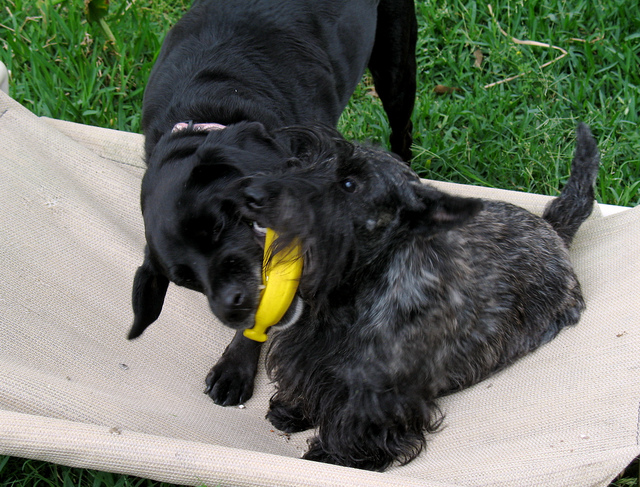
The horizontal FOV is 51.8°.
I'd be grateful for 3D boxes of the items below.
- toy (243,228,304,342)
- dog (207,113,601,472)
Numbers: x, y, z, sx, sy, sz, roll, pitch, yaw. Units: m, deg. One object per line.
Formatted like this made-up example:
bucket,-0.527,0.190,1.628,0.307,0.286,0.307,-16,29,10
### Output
toy,-0.177,0.170,2.469,0.129,0.447,0.165,13,31,5
dog,0.394,0.203,2.763,1.356,1.403,0.754,-20,43,-18
